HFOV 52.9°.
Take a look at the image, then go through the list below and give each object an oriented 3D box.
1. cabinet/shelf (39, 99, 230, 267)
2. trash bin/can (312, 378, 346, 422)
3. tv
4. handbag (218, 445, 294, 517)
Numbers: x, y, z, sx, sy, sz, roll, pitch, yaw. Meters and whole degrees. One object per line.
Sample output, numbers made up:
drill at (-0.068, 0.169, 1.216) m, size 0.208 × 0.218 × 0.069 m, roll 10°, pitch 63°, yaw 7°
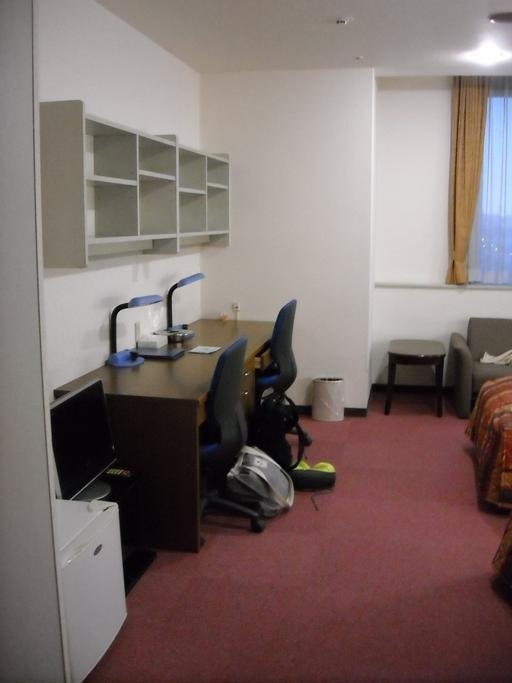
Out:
cabinet/shelf at (-0.576, -0.767, 2.801) m, size 0.292 × 0.739 × 1.831 m, roll 0°, pitch 7°, yaw 12°
trash bin/can at (0.564, 0.456, 3.995) m, size 0.222 × 0.353 × 0.266 m, roll 2°, pitch 6°, yaw 15°
tv at (-0.612, 0.364, 1.842) m, size 0.084 × 0.278 × 0.333 m, roll -14°, pitch 3°, yaw 11°
handbag at (0.003, 0.752, 2.608) m, size 0.146 × 0.326 × 0.294 m, roll -30°, pitch 28°, yaw 36°
